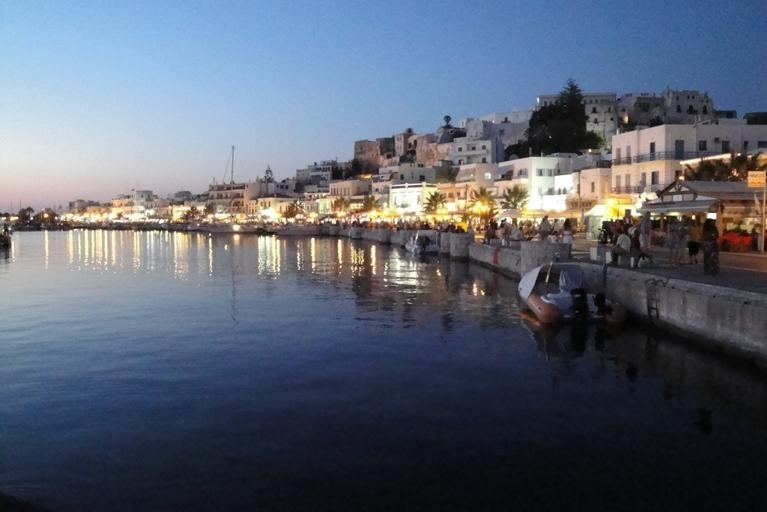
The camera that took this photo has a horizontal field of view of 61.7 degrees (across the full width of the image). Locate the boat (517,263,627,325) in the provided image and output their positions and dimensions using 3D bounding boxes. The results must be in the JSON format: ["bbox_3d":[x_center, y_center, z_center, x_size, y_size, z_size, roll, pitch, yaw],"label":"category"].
[{"bbox_3d":[6.989,1.457,25.251,1.834,1.316,3.267,-2,12,6],"label":"boat"}]
